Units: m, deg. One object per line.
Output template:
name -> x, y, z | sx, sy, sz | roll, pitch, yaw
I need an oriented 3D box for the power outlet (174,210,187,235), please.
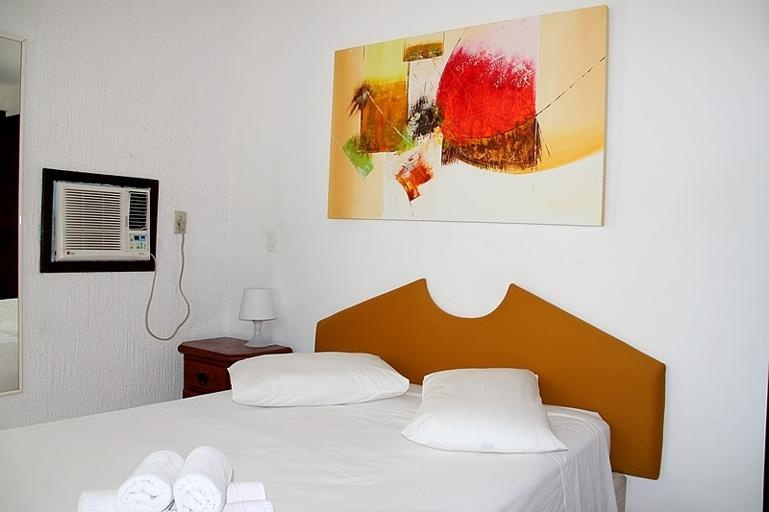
power outlet -> -1.462, -0.240, 3.792 | 0.024, 0.167, 0.110 | 8, 12, 37

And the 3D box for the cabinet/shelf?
cabinet/shelf -> -1.090, 0.588, 3.690 | 0.627, 0.646, 0.423 | -1, -3, 43

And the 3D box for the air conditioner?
air conditioner -> -1.834, -0.228, 3.370 | 0.221, 0.478, 0.541 | -1, -2, 41
